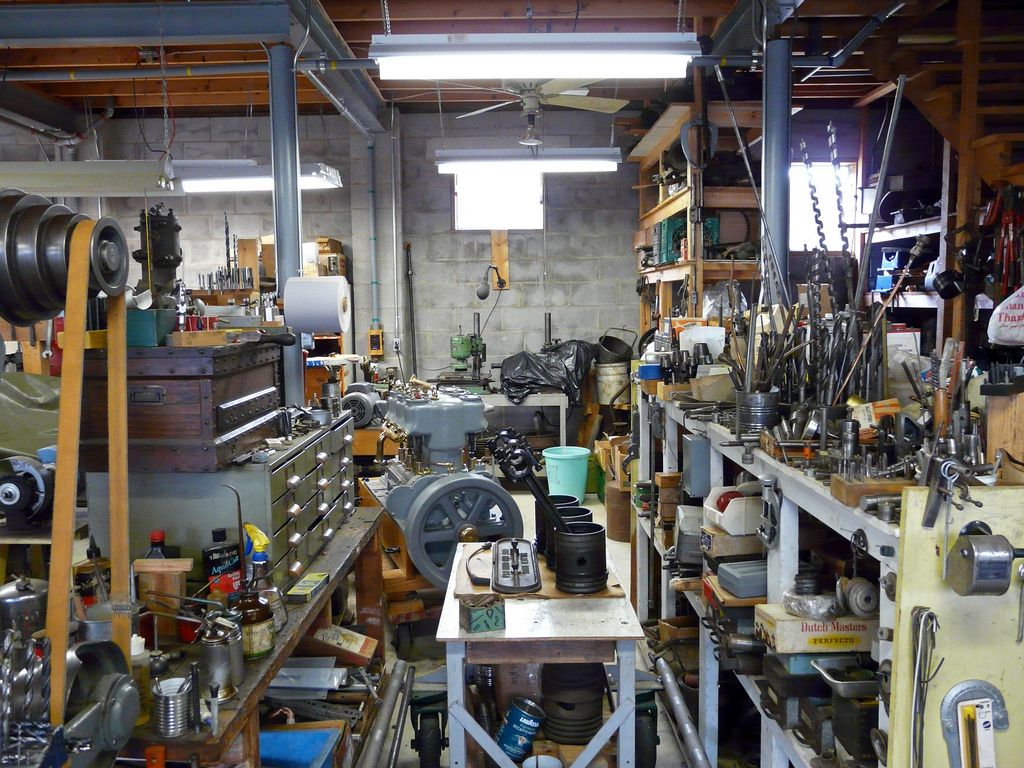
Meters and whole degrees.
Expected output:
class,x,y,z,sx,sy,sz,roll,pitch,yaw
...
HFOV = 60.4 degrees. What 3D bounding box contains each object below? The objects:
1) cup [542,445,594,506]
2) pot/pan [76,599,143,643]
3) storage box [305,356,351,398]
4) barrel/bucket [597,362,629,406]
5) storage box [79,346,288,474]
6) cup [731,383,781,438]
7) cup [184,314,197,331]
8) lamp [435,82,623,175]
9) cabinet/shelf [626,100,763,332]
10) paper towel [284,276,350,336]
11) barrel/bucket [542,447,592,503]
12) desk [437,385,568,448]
class,x,y,z,sx,sy,sz,roll,pitch,yaw
cup,0.372,0.632,6.360,0.407,0.445,0.402,-1,5,0
pot/pan,-1.108,0.631,2.403,0.117,0.076,0.121,2,2,15
storage box,-1.258,-0.052,5.895,0.265,0.360,0.250,-6,10,-41
barrel/bucket,0.782,-0.003,7.035,0.282,0.322,0.217,-1,4,18
storage box,-1.088,0.067,2.876,0.360,0.301,0.615,0,3,2
cup,0.785,0.099,2.840,0.133,0.153,0.136,0,1,0
cup,-1.046,-0.199,2.868,0.043,0.050,0.044,1,8,0
lamp,0.148,-1.473,5.672,1.200,0.503,1.121,-1,-2,-6
cabinet/shelf,1.131,-1.064,5.417,0.606,1.713,1.909,0,8,2
paper towel,-0.783,-0.323,3.538,0.268,0.224,0.231,2,-7,-14
barrel/bucket,0.328,0.608,6.421,0.402,0.438,0.406,-1,4,0
desk,0.085,0.291,7.399,0.764,0.589,1.173,-2,4,4
